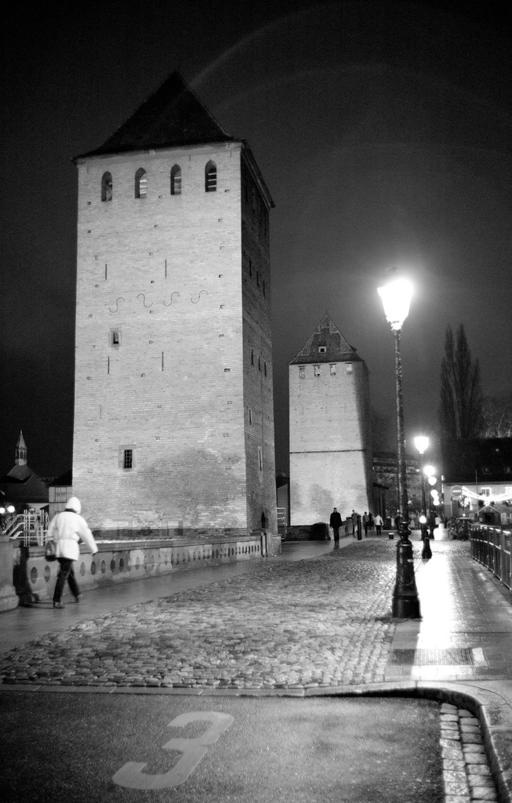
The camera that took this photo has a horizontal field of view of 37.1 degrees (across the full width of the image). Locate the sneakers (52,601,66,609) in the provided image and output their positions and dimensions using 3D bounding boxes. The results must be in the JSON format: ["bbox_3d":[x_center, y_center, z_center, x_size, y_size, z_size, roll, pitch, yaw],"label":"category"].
[{"bbox_3d":[-2.987,3.068,11.478,0.150,0.106,0.080,-3,-1,-6],"label":"sneakers"}]

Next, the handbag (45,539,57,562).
[{"bbox_3d":[-3.133,2.269,11.601,0.155,0.301,0.280,2,-9,-18],"label":"handbag"}]

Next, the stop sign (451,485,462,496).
[{"bbox_3d":[19.190,8.589,72.978,0.460,1.047,1.282,6,-11,-38],"label":"stop sign"}]

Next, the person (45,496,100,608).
[{"bbox_3d":[-2.898,2.329,11.868,0.742,1.649,0.753,1,-9,-13],"label":"person"}]
